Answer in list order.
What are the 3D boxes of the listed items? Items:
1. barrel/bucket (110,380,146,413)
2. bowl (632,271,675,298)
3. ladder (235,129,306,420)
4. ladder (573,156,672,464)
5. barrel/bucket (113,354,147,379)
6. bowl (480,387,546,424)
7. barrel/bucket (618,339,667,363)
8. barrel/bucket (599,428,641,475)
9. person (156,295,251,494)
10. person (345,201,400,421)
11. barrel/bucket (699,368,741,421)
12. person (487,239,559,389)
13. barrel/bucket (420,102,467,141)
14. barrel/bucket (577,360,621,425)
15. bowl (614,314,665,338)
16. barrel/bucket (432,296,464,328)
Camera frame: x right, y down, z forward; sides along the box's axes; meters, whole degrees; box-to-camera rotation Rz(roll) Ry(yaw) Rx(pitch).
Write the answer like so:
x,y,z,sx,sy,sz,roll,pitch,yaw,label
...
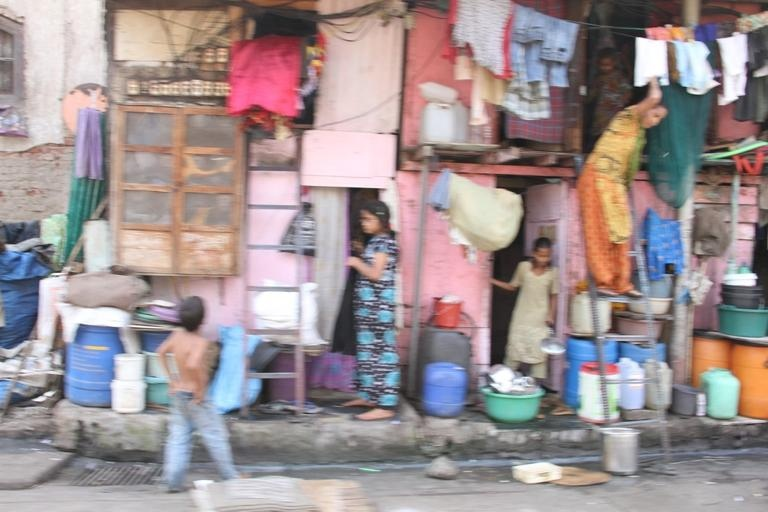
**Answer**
x,y,z,sx,sy,sz,roll,pitch,yaw,label
-2.982,1.589,12.833,0.538,0.305,0.424,2,-3,-15,barrel/bucket
3.281,0.357,13.763,0.449,0.213,0.383,0,-3,8,bowl
-1.223,0.167,13.209,0.835,3.294,0.866,1,-1,-5,ladder
2.779,0.606,13.247,1.145,3.615,1.004,1,-1,9,ladder
-2.842,1.259,12.880,0.407,0.178,0.313,1,-1,-6,barrel/bucket
1.507,1.740,13.363,0.795,0.233,0.641,3,6,16,bowl
3.097,1.135,13.564,0.441,0.246,0.338,1,-2,0,barrel/bucket
2.615,2.170,12.591,0.403,0.506,0.238,1,-1,6,barrel/bucket
-1.961,1.463,11.942,0.803,2.064,0.337,1,-1,-1,person
-0.112,0.617,13.113,0.598,2.507,0.418,1,-1,-1,person
4.013,1.648,13.587,0.445,0.592,0.214,0,-1,13,barrel/bucket
1.792,0.644,13.991,0.689,1.753,0.452,1,-1,7,person
0.699,-1.567,13.382,0.702,0.388,0.538,1,-1,-5,barrel/bucket
2.569,1.615,13.366,0.596,0.553,0.539,-3,3,-39,barrel/bucket
3.062,0.841,13.728,0.473,0.140,0.388,1,-1,-22,bowl
0.748,0.672,13.530,0.349,0.382,0.177,1,-1,5,barrel/bucket
